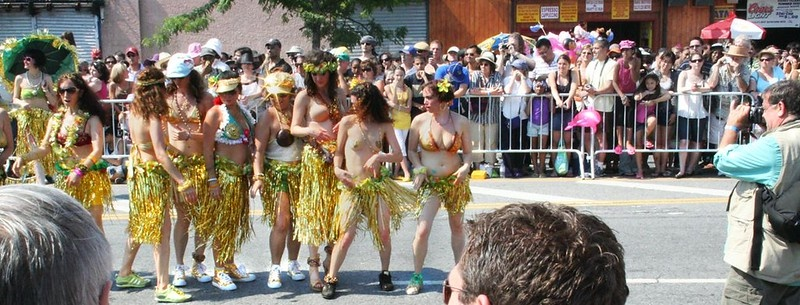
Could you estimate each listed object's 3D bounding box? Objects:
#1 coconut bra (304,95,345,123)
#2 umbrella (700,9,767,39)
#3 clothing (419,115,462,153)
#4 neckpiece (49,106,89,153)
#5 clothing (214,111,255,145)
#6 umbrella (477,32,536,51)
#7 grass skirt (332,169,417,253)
[{"bbox_3d":[-1.933,-1.040,23.846,0.886,0.536,0.356,-1,-15,7],"label":"coconut bra"},{"bbox_3d":[12.217,-4.488,33.393,2.004,0.738,1.999,7,12,41],"label":"umbrella"},{"bbox_3d":[1.045,-0.471,24.114,1.215,0.889,0.585,3,2,-20],"label":"clothing"},{"bbox_3d":[-8.659,-0.569,23.953,1.181,0.889,0.583,-4,3,6],"label":"neckpiece"},{"bbox_3d":[-4.339,-0.625,23.729,0.529,0.719,0.873,-3,12,32],"label":"clothing"},{"bbox_3d":[3.686,-3.770,31.114,1.667,0.540,1.456,-2,9,1],"label":"umbrella"},{"bbox_3d":[-0.498,1.586,24.836,2.843,2.155,2.186,-3,-1,-17],"label":"grass skirt"}]
